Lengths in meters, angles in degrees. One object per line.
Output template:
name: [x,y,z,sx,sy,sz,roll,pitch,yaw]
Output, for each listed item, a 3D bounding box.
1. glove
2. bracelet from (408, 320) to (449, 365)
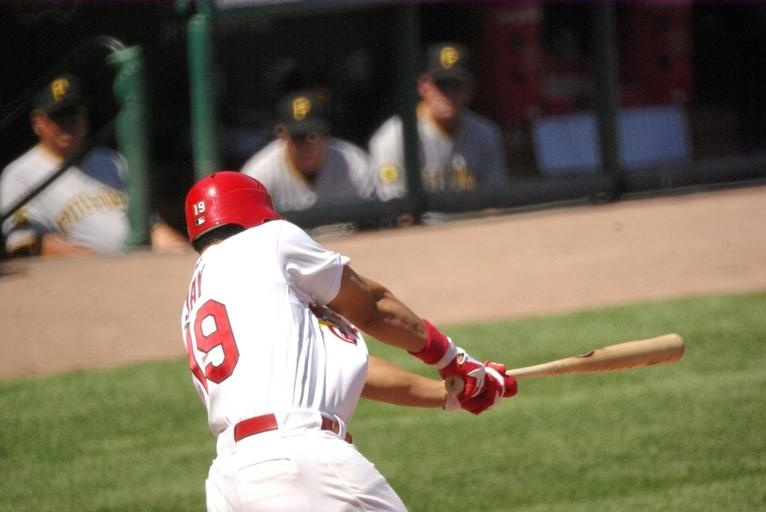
glove: [0.475,0.656,6.522,0.298,0.348,0.815,0,-28,47]
bracelet: [0.247,0.484,6.304,0.155,0.270,0.112,-36,15,-7]
